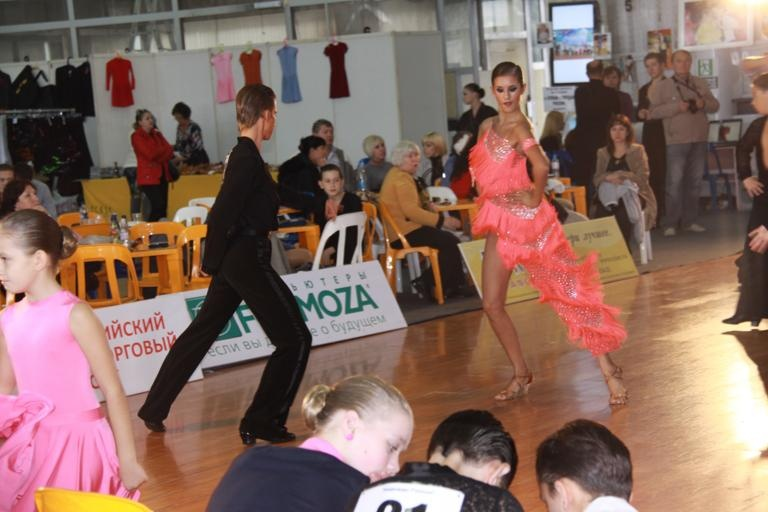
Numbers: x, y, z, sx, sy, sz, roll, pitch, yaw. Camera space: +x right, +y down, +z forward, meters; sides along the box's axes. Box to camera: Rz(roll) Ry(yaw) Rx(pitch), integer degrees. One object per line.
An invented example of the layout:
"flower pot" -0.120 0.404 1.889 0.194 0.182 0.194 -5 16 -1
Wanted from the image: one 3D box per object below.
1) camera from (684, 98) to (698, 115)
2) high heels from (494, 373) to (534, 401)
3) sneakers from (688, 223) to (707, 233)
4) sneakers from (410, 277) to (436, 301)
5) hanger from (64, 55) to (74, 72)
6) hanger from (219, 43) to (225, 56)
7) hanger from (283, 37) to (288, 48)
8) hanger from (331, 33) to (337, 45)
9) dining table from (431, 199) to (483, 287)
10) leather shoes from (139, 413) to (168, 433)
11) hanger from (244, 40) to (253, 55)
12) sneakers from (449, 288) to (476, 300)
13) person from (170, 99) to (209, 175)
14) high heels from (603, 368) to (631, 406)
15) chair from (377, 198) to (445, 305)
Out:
"camera" 4.964 -2.419 10.861 0.156 0.233 0.077 -5 3 2
"high heels" 0.939 0.905 4.778 0.362 0.168 0.121 -4 5 -43
"sneakers" 5.078 -0.462 10.985 0.122 0.155 0.362 -14 10 -33
"sneakers" 0.479 0.374 7.898 0.297 0.308 0.191 12 20 43
"hanger" -5.491 -3.371 11.748 0.097 0.195 0.250 -8 11 -24
"hanger" -2.826 -3.612 11.759 0.101 0.126 0.083 4 13 39
"hanger" -1.693 -3.697 11.644 0.089 0.154 0.197 -8 11 -23
"hanger" -0.853 -3.733 11.595 0.130 0.173 0.214 -3 10 5
"dining table" 1.016 -0.202 8.154 0.816 1.240 0.913 -1 3 -1
"leather shoes" -1.560 1.142 4.601 0.095 0.241 0.088 -14 49 11
"hanger" -2.339 -3.618 11.675 0.157 0.199 0.191 -9 11 -25
"sneakers" 0.938 0.435 7.941 0.347 0.165 0.123 2 1 5
"person" -3.337 -1.917 11.575 0.648 1.373 0.628 2 26 4
"high heels" 1.570 0.898 4.522 0.106 0.328 0.126 -12 -24 27
"chair" 0.267 -0.049 7.932 0.796 1.204 0.872 -2 -1 4
